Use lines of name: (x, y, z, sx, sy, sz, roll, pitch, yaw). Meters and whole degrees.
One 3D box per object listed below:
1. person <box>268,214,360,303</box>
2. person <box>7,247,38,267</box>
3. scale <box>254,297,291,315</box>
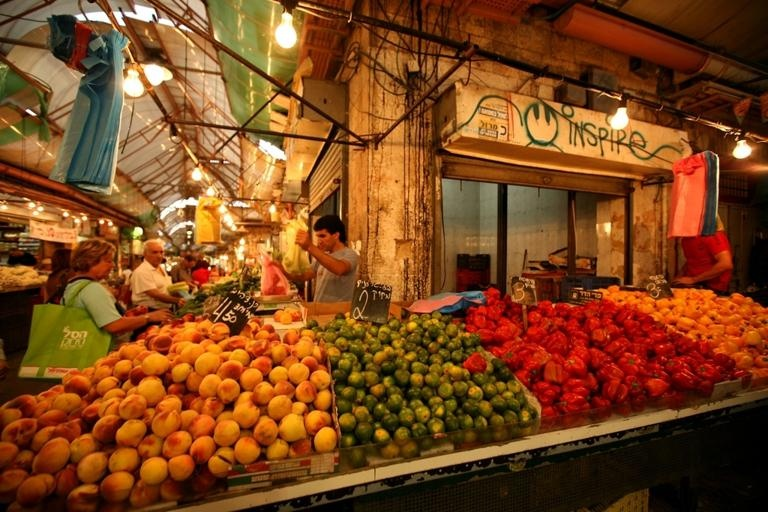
person: (-0.834, 0.038, 7.733, 0.789, 1.338, 0.797, 3, -4, 5)
person: (-10.010, 0.037, 13.762, 0.413, 0.400, 1.001, 4, -4, -9)
scale: (-1.679, 0.734, 7.566, 0.530, 0.257, 0.897, 4, -4, -12)
